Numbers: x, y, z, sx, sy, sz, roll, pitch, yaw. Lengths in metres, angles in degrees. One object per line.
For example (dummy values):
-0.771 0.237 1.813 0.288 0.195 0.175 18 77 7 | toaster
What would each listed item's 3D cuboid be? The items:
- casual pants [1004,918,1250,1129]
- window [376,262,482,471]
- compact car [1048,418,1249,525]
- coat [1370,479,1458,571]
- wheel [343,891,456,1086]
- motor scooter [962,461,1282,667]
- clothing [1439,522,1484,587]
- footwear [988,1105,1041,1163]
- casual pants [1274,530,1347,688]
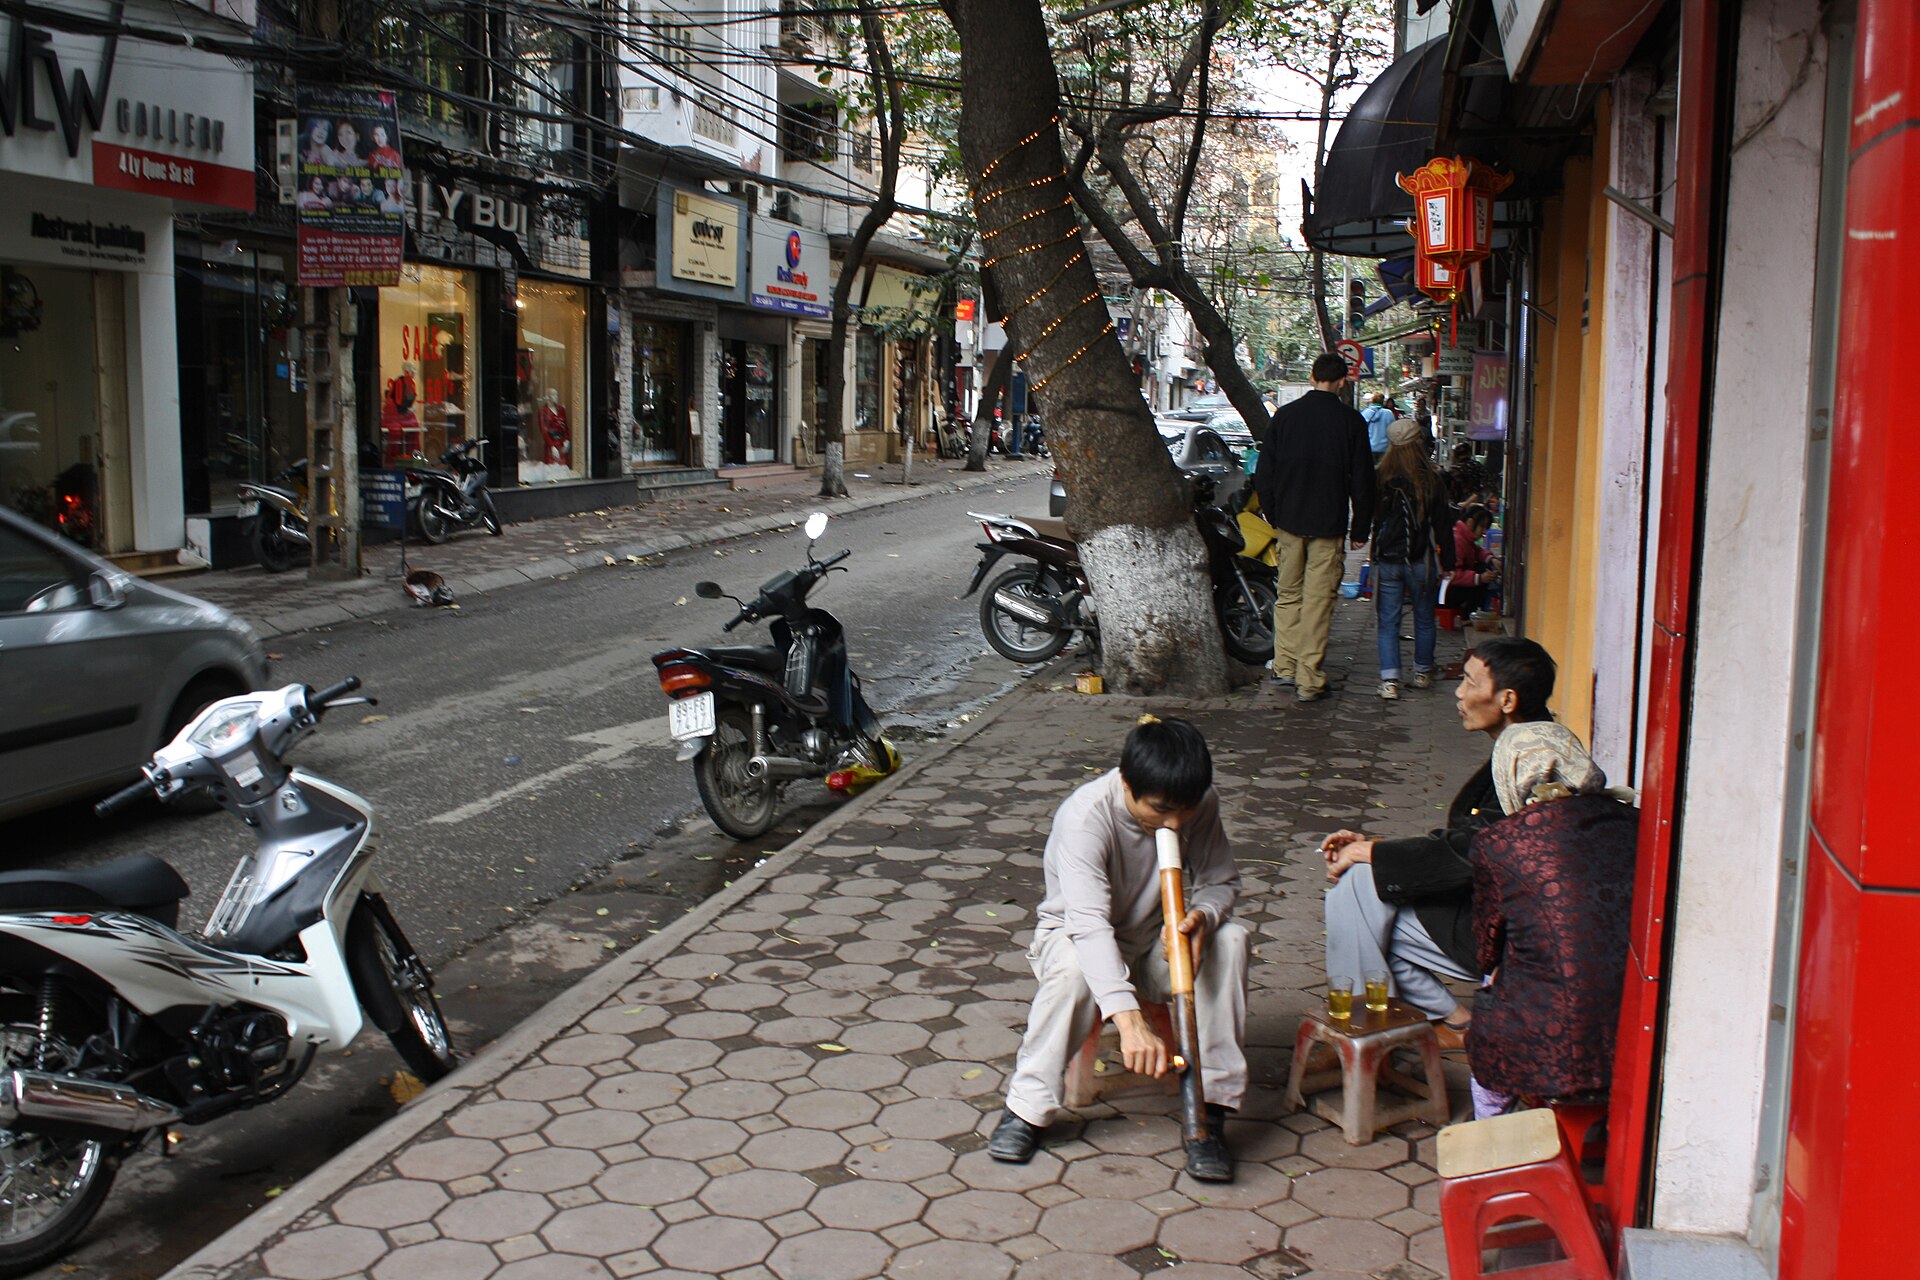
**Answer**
0.547 1.200 4.784 0.694 0.625 0.673 3 20 5 | casual pants
-7.924 -4.496 21.983 1.429 3.226 3.582 0 29 -18 | window
2.780 -1.995 18.601 1.441 1.122 3.237 6 13 30 | compact car
3.150 -0.808 10.385 0.746 0.685 0.385 -1 0 -4 | coat
-2.036 1.289 5.328 0.191 0.565 0.586 -27 25 2 | wheel
1.342 -0.599 11.794 2.681 1.604 1.105 -1 2 6 | motor scooter
4.029 -0.665 11.974 0.315 0.362 0.507 -2 25 13 | clothing
0.159 1.546 4.571 0.081 0.091 0.231 14 -8 2 | footwear
2.455 -0.296 10.526 0.407 1.307 0.508 -5 12 -37 | casual pants
